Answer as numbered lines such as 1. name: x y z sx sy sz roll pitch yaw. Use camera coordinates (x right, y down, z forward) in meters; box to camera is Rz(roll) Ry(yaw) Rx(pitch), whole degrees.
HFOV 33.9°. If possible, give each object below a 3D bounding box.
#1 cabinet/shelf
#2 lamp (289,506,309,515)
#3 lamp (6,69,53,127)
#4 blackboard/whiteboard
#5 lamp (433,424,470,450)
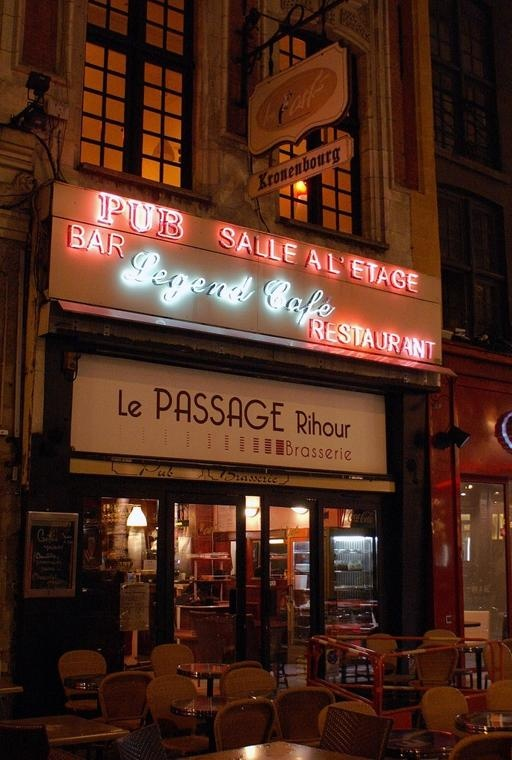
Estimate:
1. cabinet/shelf: 1.108 2.677 11.135 0.470 1.475 0.808 3 -5 -12
2. lamp: 0.548 1.620 10.495 0.039 0.102 0.295 -11 -18 42
3. lamp: -2.205 -2.751 8.222 0.356 0.596 0.552 5 -14 -17
4. blackboard/whiteboard: -1.918 1.633 7.836 0.676 1.050 0.099 12 -23 -42
5. lamp: 2.762 0.837 12.043 0.483 0.329 0.447 -2 -14 13
